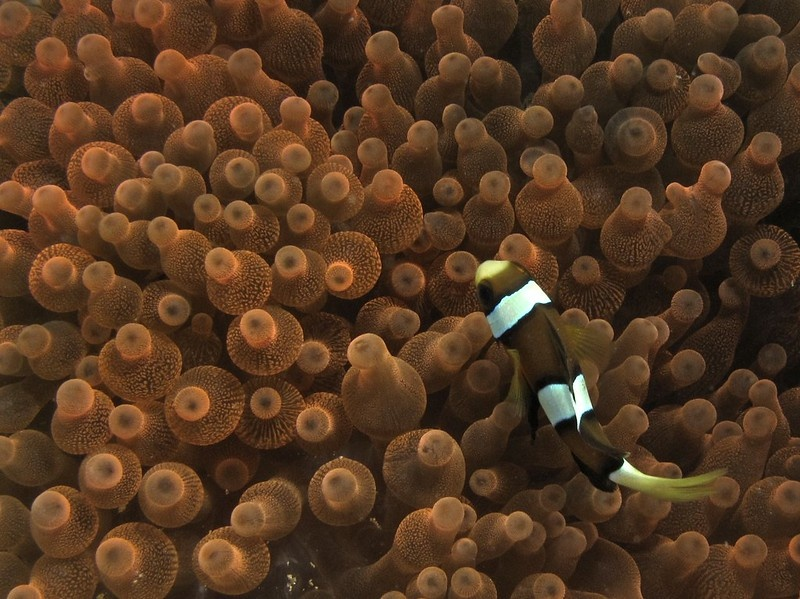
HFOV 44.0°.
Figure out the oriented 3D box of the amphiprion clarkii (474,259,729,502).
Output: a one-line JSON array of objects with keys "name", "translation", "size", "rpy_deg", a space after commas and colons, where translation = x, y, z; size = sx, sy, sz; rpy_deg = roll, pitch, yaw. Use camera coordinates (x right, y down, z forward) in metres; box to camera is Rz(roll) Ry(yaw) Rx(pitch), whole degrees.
[{"name": "amphiprion clarkii", "translation": [0.445, 0.275, 2.579], "size": [0.318, 0.325, 0.841], "rpy_deg": [-30, 73, -17]}]
